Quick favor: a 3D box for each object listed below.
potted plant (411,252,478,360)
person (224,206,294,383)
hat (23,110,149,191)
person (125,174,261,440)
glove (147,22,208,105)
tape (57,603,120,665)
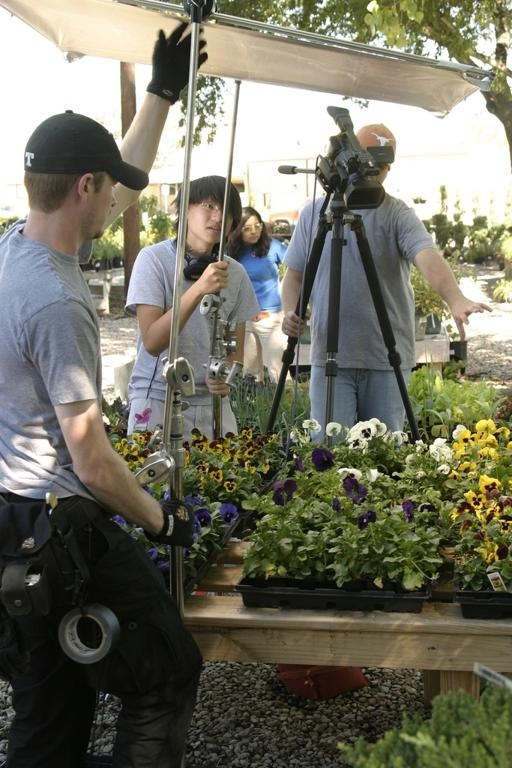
[{"bbox_3d":[0.765,-0.377,2.575,0.156,0.131,0.542,-16,46,-4],"label":"potted plant"},{"bbox_3d":[0.071,-0.858,6.341,0.644,1.639,0.642,3,12,-5],"label":"person"},{"bbox_3d":[-0.376,-0.522,1.437,0.272,0.143,0.183,-7,24,-33],"label":"hat"},{"bbox_3d":[-0.226,-0.305,2.722,0.461,1.327,0.468,3,5,39],"label":"person"},{"bbox_3d":[-0.282,-1.086,2.181,0.190,0.280,0.079,24,4,-21],"label":"glove"},{"bbox_3d":[-0.338,0.499,1.290,0.117,0.118,0.041,6,3,14],"label":"tape"}]
